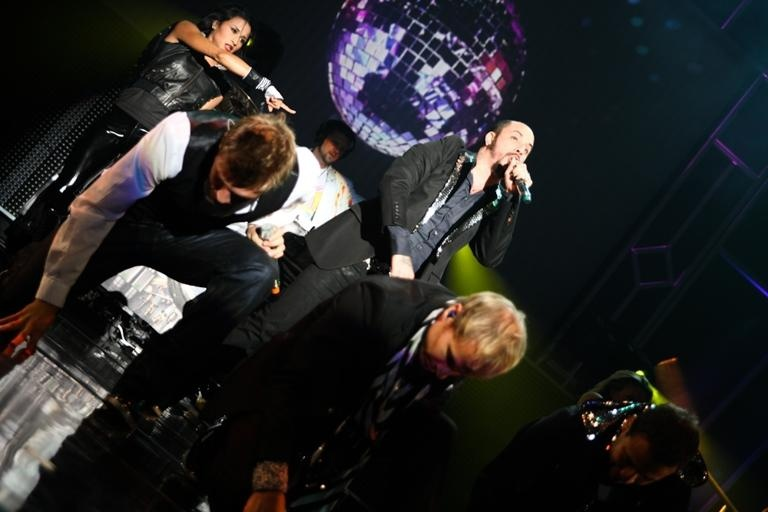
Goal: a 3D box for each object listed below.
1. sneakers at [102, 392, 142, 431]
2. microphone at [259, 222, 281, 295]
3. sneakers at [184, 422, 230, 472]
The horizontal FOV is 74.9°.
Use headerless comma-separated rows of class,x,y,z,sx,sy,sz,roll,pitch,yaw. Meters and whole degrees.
sneakers,-1.366,0.810,2.623,0.268,0.065,0.196,10,-41,22
microphone,-0.705,-0.010,3.128,0.142,0.487,0.126,-2,-16,-18
sneakers,-0.883,0.995,2.624,0.165,0.333,0.080,43,14,21
